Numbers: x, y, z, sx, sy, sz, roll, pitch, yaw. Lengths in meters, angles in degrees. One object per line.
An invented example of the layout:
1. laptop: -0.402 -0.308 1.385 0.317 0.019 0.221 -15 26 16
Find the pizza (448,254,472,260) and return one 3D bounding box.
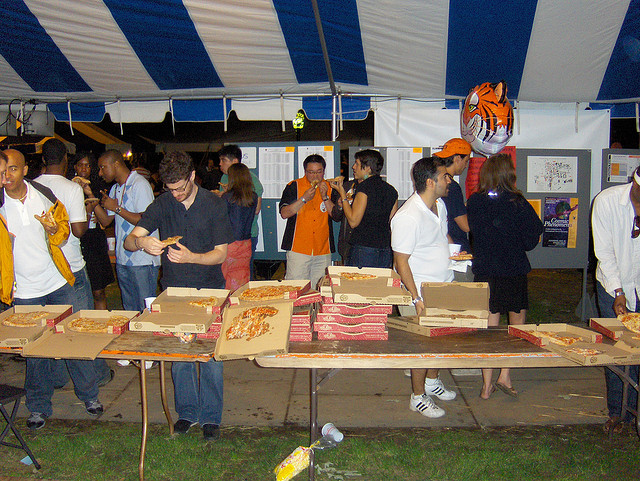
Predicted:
1. pizza: 1.363 0.147 5.619 0.232 0.046 0.077 0 7 -21

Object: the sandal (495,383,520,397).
1. sandal: 1.971 1.564 6.145 0.257 0.088 0.077 22 62 36

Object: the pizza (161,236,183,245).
1. pizza: -1.307 0.007 5.096 0.165 0.089 0.310 -2 7 -8

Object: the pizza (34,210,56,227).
1. pizza: -2.497 -0.194 5.247 0.164 0.132 0.168 -5 8 -24

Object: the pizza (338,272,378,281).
1. pizza: 0.330 0.310 5.075 0.343 0.045 0.174 -2 7 -3

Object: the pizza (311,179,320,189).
1. pizza: -0.074 -0.680 7.014 0.098 0.084 0.023 -5 -9 27

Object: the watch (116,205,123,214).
1. watch: -2.183 -0.324 6.268 0.050 0.062 0.025 26 -6 2

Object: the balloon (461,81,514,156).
1. balloon: 1.970 -1.454 6.999 0.603 0.895 0.809 -2 11 1

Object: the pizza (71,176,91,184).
1. pizza: -2.608 -0.645 6.348 0.159 0.057 0.187 8 -20 1

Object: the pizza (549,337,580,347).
1. pizza: 1.981 0.792 4.665 0.274 0.053 0.119 -6 9 -37

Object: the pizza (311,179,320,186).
1. pizza: -0.065 -0.702 7.079 0.081 0.075 0.137 -3 7 -11

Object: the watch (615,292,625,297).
1. watch: 2.739 0.478 5.259 0.097 0.033 0.042 -5 8 -28

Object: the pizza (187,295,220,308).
1. pizza: -0.953 0.516 4.921 0.263 0.050 0.225 2 8 27

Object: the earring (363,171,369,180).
1. earring: 0.521 -0.732 6.533 0.069 0.028 0.089 2 31 24

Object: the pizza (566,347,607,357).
1. pizza: 2.087 0.856 4.520 0.313 0.038 0.168 -4 7 -22

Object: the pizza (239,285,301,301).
1. pizza: -0.422 0.439 4.918 0.474 0.069 0.319 -1 7 5
